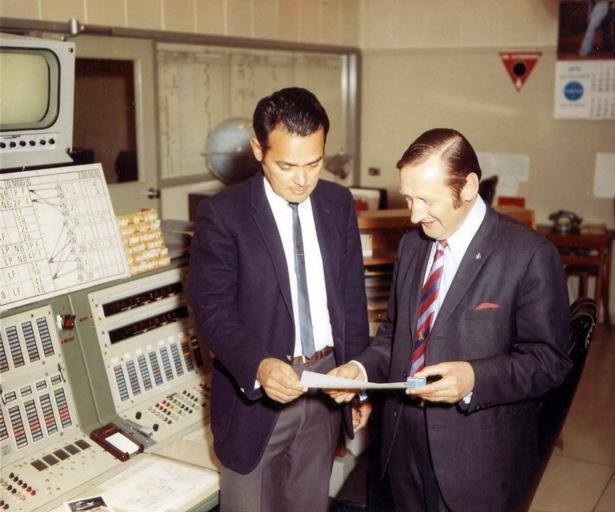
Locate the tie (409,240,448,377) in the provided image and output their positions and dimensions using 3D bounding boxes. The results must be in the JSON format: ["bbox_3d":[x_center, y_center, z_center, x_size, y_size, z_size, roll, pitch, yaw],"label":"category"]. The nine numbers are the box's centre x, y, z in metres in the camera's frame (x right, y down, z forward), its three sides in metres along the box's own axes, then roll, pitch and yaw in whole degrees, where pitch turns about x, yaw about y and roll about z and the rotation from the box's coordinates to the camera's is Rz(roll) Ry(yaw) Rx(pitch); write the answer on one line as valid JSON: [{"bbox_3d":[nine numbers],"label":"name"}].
[{"bbox_3d":[0.362,0.169,1.635,0.118,0.405,0.104,14,19,25],"label":"tie"}]

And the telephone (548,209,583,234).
[{"bbox_3d":[2.600,-0.342,5.336,0.295,0.223,0.223,0,3,-19],"label":"telephone"}]

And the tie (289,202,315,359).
[{"bbox_3d":[-0.019,0.084,1.691,0.055,0.595,0.061,-5,-10,3],"label":"tie"}]
